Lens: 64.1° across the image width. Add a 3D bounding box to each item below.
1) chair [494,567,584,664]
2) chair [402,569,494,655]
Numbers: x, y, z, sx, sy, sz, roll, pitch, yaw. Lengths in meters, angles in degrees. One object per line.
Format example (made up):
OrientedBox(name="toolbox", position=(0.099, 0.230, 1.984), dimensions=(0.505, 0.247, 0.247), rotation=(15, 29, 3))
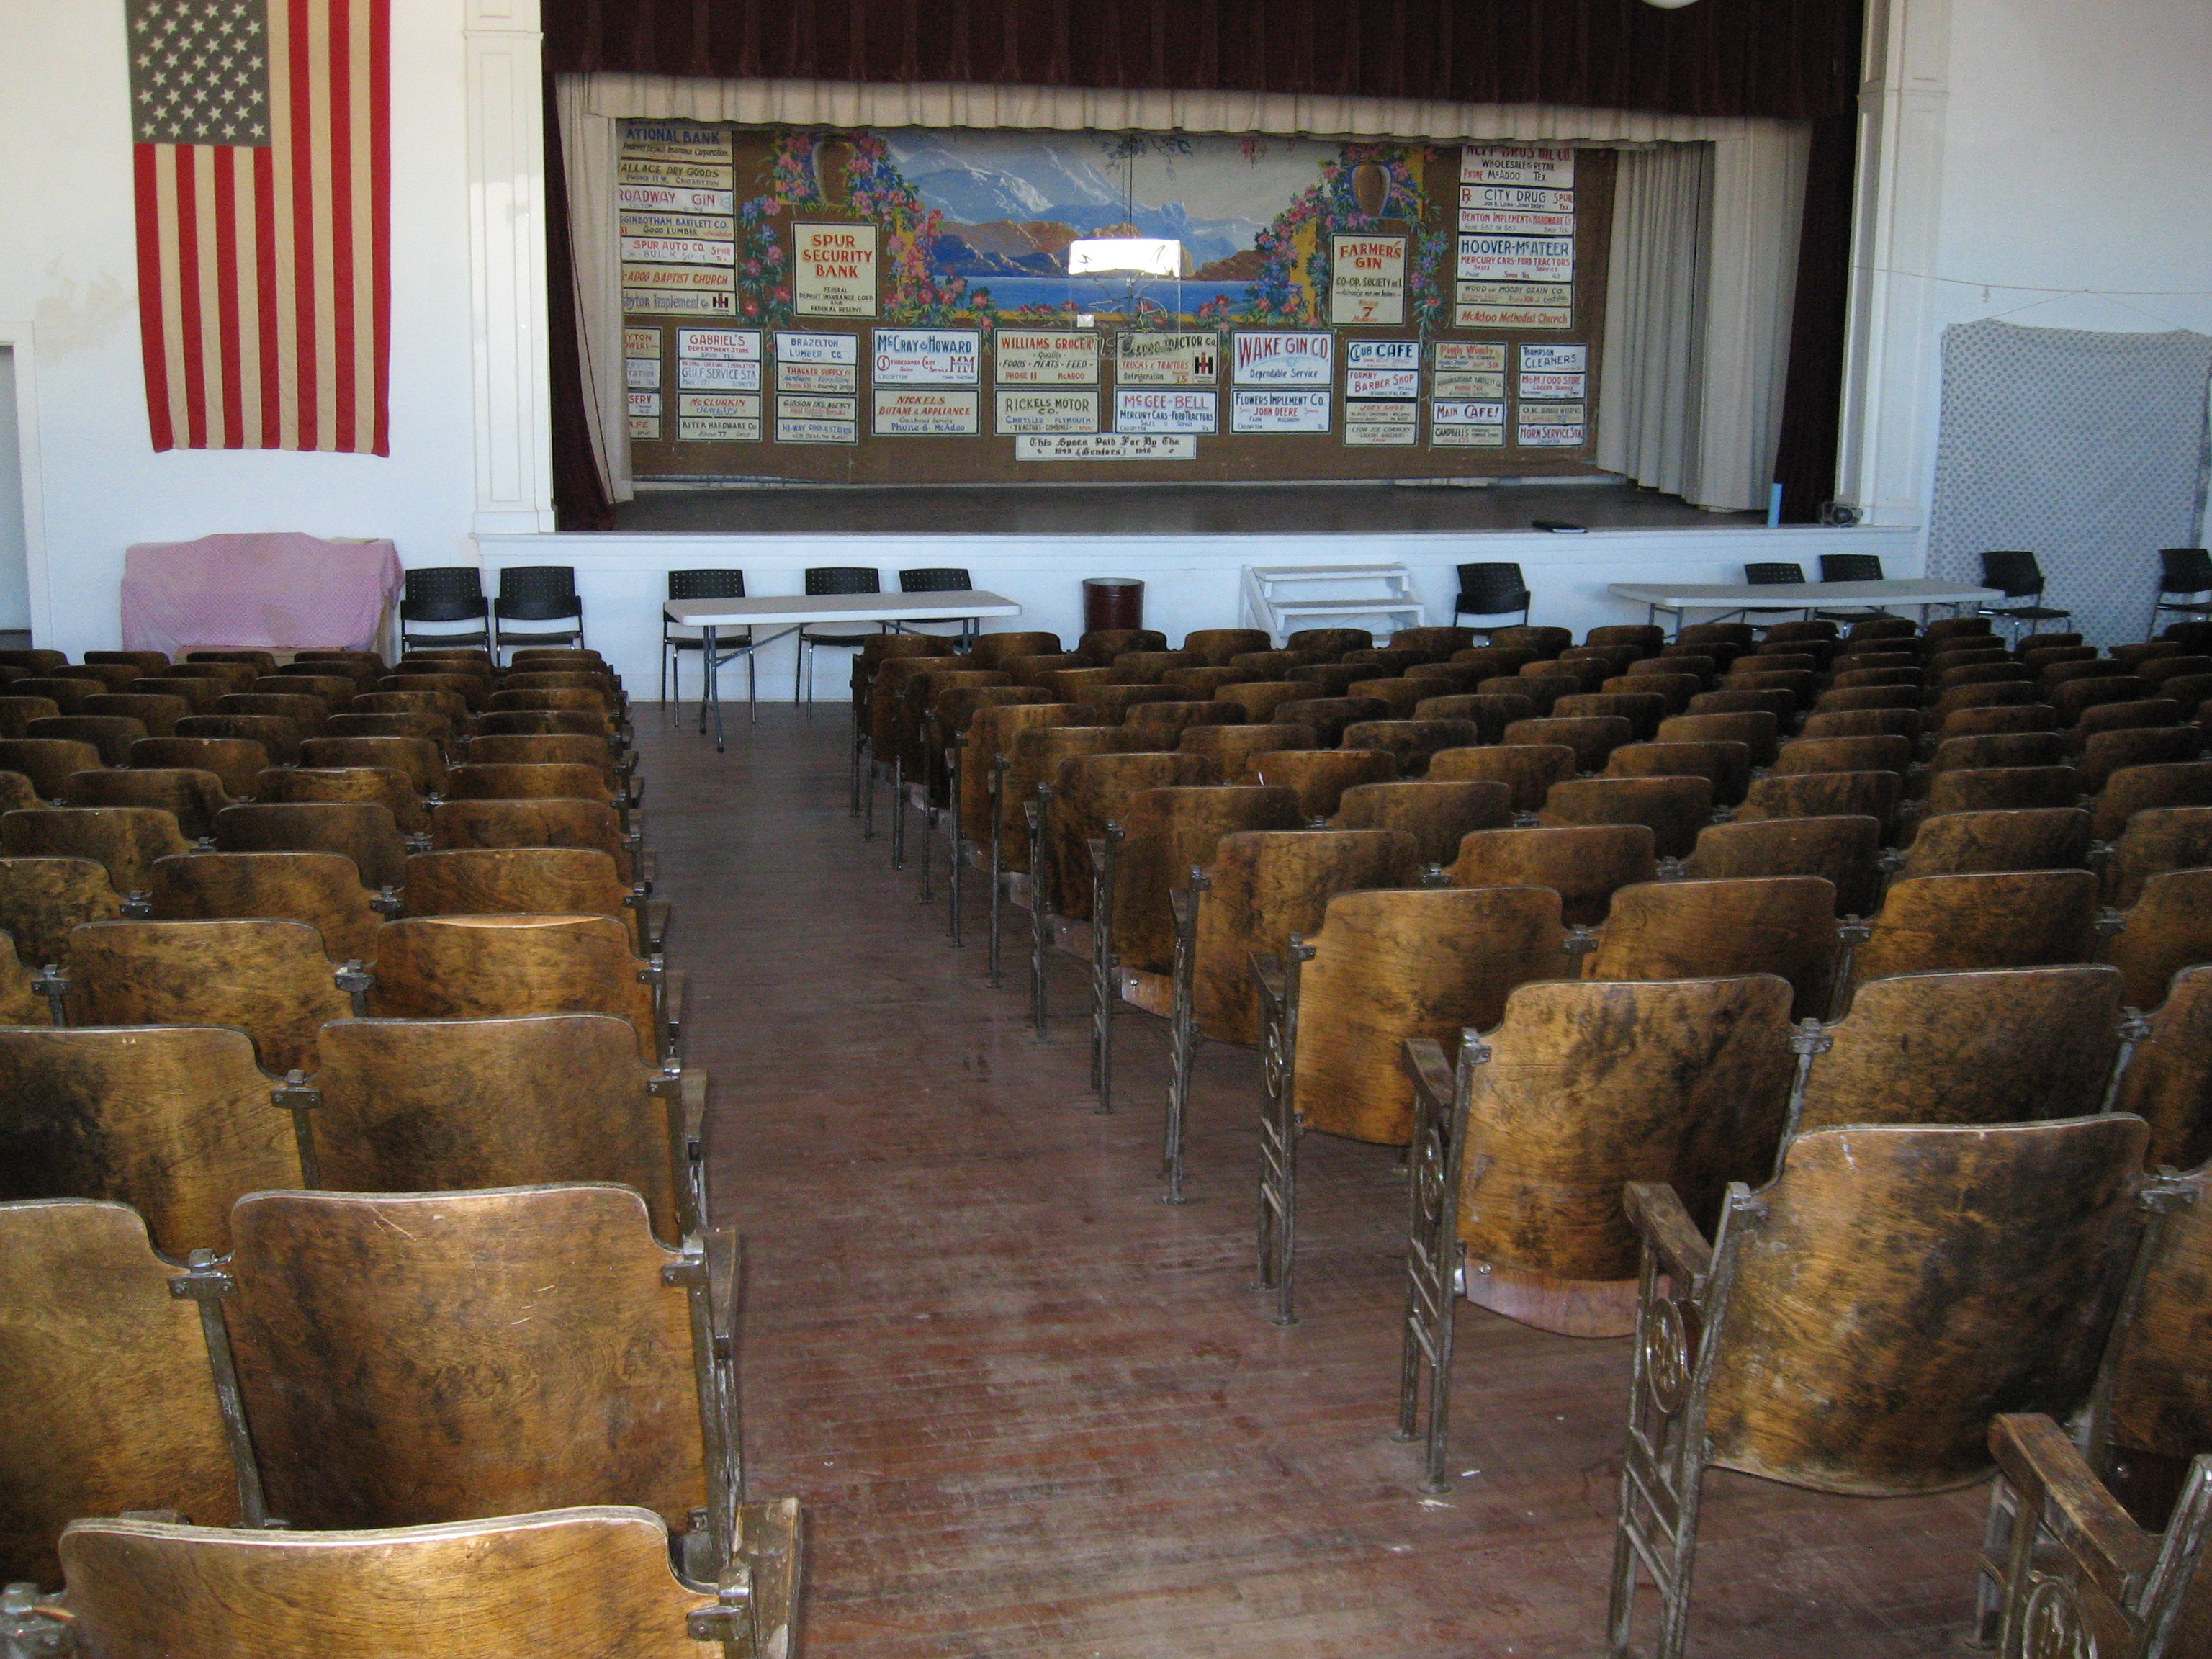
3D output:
OrientedBox(name="chair", position=(-3.490, -1.358, 11.030), dimensions=(0.592, 0.853, 0.554), rotation=(-4, 13, -21))
OrientedBox(name="chair", position=(-4.043, -1.332, 10.763), dimensions=(0.523, 0.497, 0.627), rotation=(-5, 15, -22))
